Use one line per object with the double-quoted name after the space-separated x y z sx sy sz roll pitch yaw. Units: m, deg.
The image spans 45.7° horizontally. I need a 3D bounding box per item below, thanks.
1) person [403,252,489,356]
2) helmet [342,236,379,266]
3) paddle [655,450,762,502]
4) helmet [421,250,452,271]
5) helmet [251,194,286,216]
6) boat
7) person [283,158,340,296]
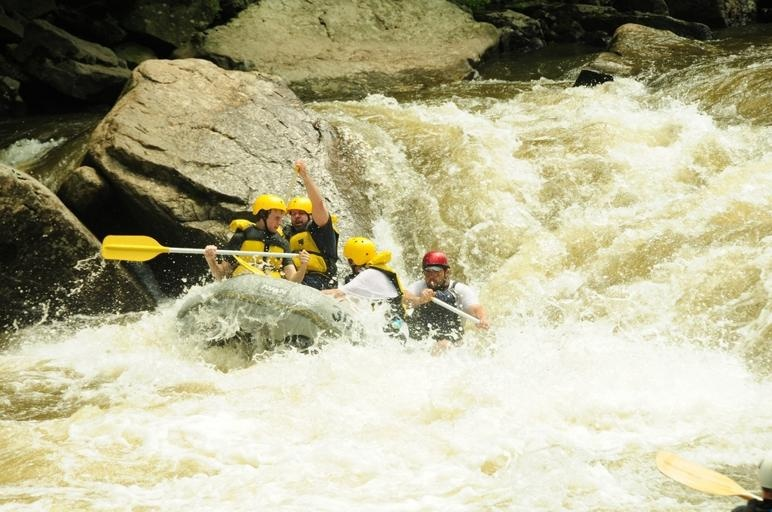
0.759 0.678 12.331 0.978 0.976 1.095 -30 44 -15 "person"
-0.346 -0.101 12.622 0.441 0.339 0.324 30 15 20 "helmet"
3.465 2.381 9.832 0.979 0.139 0.238 24 57 26 "paddle"
0.657 0.046 12.480 0.343 0.219 0.328 -18 42 -3 "helmet"
-1.630 -0.714 12.780 0.388 0.220 0.294 17 7 8 "helmet"
-1.364 0.849 11.851 1.337 1.641 0.539 -4 64 54 "boat"
-1.079 -0.355 13.074 0.687 0.822 1.904 12 34 -19 "person"
